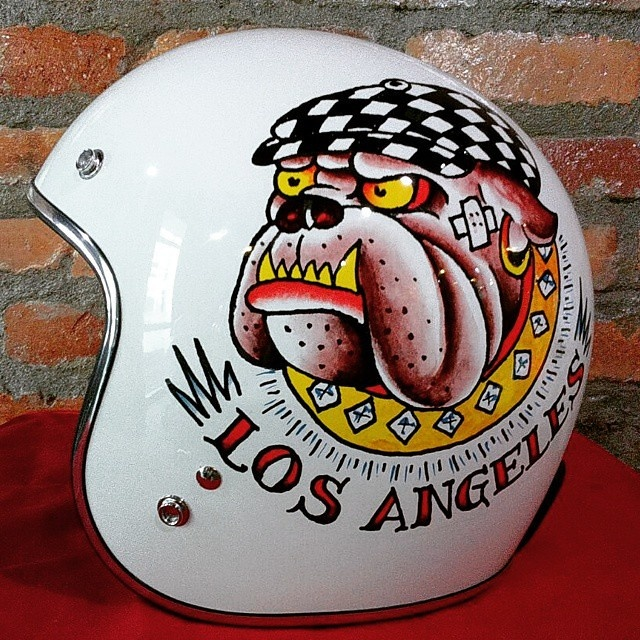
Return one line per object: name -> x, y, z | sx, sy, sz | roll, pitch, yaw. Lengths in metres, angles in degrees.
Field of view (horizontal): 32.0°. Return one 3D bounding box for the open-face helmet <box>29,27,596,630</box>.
open-face helmet -> -0.021, -0.001, 1.361 | 0.557, 0.486, 0.615 | 0, 93, -7
